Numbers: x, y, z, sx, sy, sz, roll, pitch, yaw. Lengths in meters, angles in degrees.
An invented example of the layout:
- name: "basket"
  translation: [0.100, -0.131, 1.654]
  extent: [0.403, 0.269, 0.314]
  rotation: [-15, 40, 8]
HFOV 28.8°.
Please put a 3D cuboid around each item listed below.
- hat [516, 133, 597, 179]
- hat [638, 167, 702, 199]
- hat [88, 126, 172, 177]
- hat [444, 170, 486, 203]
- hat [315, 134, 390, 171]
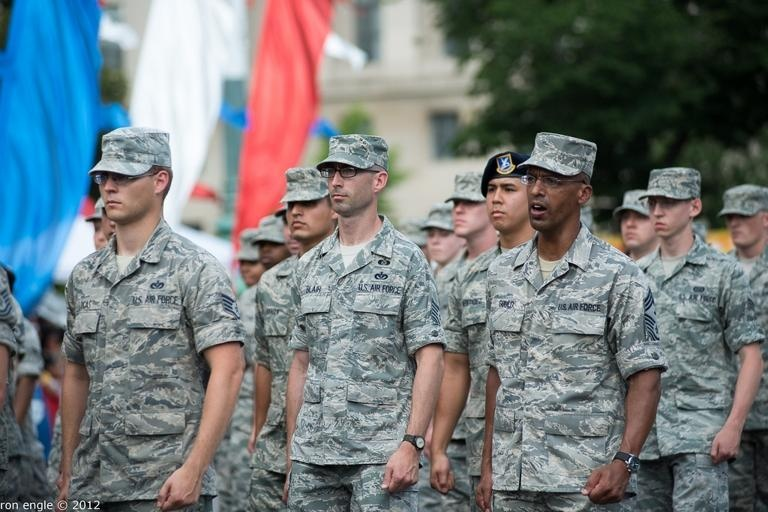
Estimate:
- name: "hat"
  translation: [1.580, -0.871, 13.601]
  extent: [0.565, 0.266, 0.424]
  rotation: [16, -5, -24]
- name: "hat"
  translation: [3.031, -0.749, 15.557]
  extent: [0.449, 0.211, 0.338]
  rotation: [3, -4, -33]
- name: "hat"
  translation: [-2.317, -0.934, 13.729]
  extent: [0.615, 0.313, 0.443]
  rotation: [1, -4, -43]
- name: "hat"
  translation: [0.874, -0.728, 16.035]
  extent: [0.361, 0.192, 0.286]
  rotation: [3, -5, -33]
- name: "hat"
  translation: [-0.219, -0.968, 14.056]
  extent: [0.377, 0.236, 0.498]
  rotation: [4, 7, 33]
